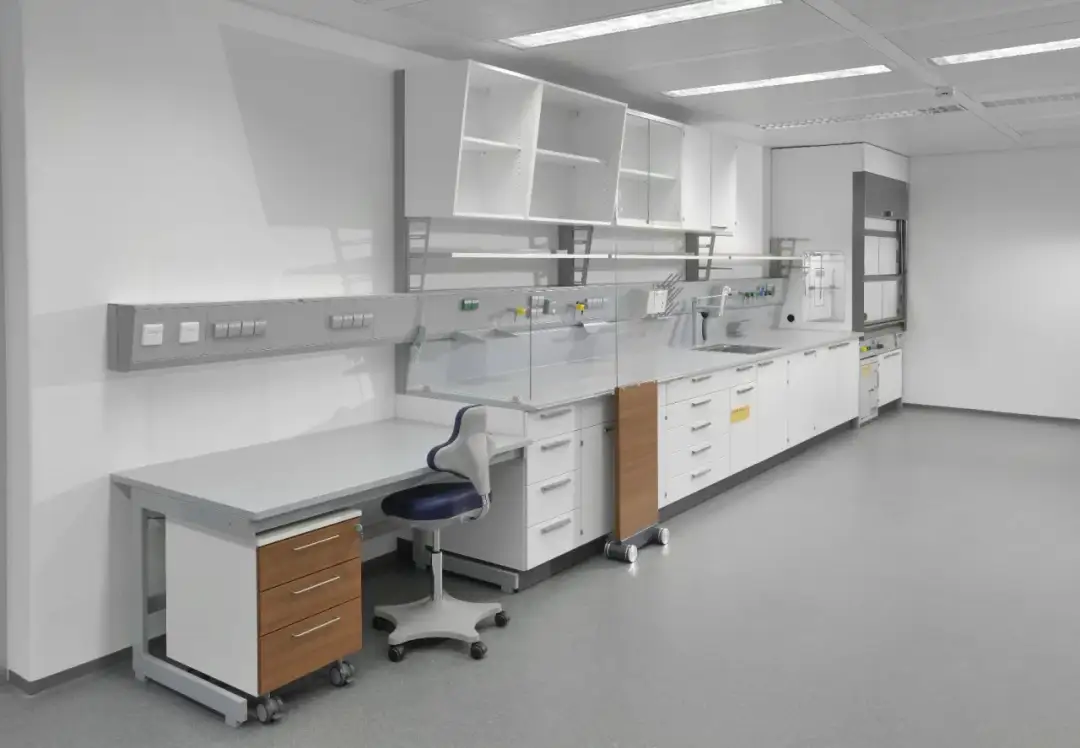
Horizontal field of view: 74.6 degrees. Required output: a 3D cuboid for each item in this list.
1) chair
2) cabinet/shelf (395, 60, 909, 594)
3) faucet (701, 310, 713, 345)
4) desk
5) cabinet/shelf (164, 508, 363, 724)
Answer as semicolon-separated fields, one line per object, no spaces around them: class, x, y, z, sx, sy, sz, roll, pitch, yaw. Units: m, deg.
chair;-0.530;0.790;3.722;0.755;1.189;0.742;1;1;35
cabinet/shelf;1.829;-0.723;6.559;1.262;3.044;7.114;9;14;41
faucet;1.654;-0.466;7.016;0.079;0.378;0.068;0;-1;-30
desk;-0.951;0.779;3.763;1.253;1.302;1.915;9;9;33
cabinet/shelf;-1.342;1.041;3.381;0.862;0.812;0.554;3;5;35
